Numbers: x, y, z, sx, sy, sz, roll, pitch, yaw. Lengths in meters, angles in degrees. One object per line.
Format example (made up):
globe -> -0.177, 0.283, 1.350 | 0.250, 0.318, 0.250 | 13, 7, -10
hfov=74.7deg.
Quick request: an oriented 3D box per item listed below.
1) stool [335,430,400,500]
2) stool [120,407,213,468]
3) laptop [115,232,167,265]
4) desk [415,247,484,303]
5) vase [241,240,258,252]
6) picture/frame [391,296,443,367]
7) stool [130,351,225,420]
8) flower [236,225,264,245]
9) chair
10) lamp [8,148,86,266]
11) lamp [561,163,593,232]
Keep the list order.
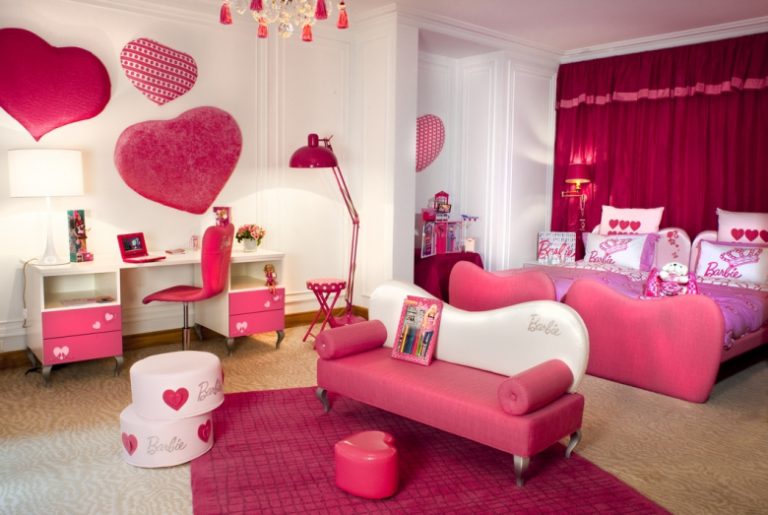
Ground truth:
stool -> -0.093, 1.189, 2.910 | 0.345, 0.235, 0.321 | -3, 5, -39
stool -> -1.385, 1.141, 3.157 | 0.411, 0.213, 0.409 | -1, 9, -12
laptop -> -2.232, -0.081, 4.611 | 0.345, 0.258, 0.328 | 6, 7, 28
desk -> 0.771, 0.125, 5.830 | 0.683, 0.355, 0.673 | -3, 6, -31
vase -> -1.383, -0.121, 5.154 | 0.126, 0.094, 0.125 | 2, 5, -9
picture/frame -> 0.261, 0.549, 3.638 | 0.451, 0.619, 0.069 | 4, -21, 32
stool -> -1.275, 0.803, 3.207 | 0.416, 0.216, 0.422 | 3, 4, 31
flower -> -1.337, -0.207, 5.076 | 0.218, 0.148, 0.208 | 2, -1, -41
chair -> -1.703, 0.271, 4.621 | 0.652, 1.134, 0.483 | 2, 9, 20
lamp -> -2.873, -0.428, 4.265 | 0.585, 0.948, 0.324 | 1, 9, 11
lamp -> 2.622, -0.792, 6.775 | 0.402, 0.903, 0.423 | 2, 9, 21
